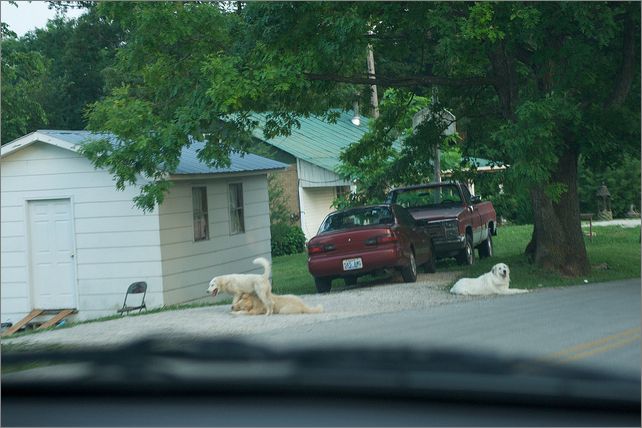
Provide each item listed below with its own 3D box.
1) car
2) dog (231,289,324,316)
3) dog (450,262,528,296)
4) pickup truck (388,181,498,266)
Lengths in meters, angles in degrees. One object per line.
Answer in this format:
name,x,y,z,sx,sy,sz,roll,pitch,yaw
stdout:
car,0.987,0.648,15.527,1.861,1.759,2.431,-4,-3,19
dog,-0.664,1.365,11.493,1.643,0.309,0.656,-6,-4,40
dog,2.961,1.146,13.306,1.155,0.471,0.611,-5,-2,6
pickup truck,3.224,0.156,18.720,1.683,1.215,2.870,-2,0,20
